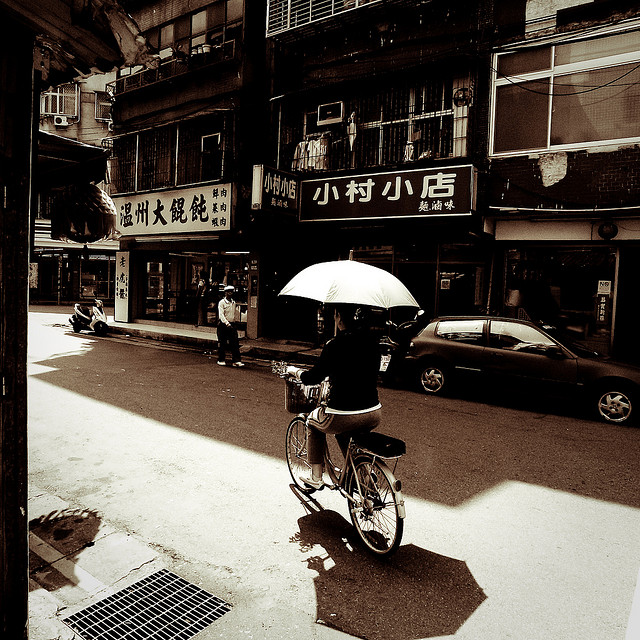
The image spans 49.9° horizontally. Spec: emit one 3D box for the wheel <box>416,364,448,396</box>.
[{"bbox_3d":[1.836,0.935,11.080,0.354,0.475,0.141,6,3,41],"label":"wheel"}]

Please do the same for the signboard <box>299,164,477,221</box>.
[{"bbox_3d":[1.287,-2.558,13.861,4.023,1.142,0.246,9,11,38],"label":"signboard"}]

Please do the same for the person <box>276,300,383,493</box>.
[{"bbox_3d":[0.131,0.683,5.880,0.785,1.780,0.537,4,8,23],"label":"person"}]

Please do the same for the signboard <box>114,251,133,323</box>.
[{"bbox_3d":[-6.251,-1.130,21.884,0.806,2.251,0.316,8,10,44],"label":"signboard"}]

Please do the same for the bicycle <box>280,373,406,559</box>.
[{"bbox_3d":[0.373,1.125,5.671,0.481,1.349,1.501,0,4,-22],"label":"bicycle"}]

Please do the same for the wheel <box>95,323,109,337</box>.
[{"bbox_3d":[-5.972,0.212,18.764,0.316,0.387,0.396,-2,9,-21],"label":"wheel"}]

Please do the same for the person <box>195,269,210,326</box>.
[{"bbox_3d":[-3.507,-0.698,20.706,0.370,1.483,1.251,0,8,-10],"label":"person"}]

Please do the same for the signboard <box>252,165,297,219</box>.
[{"bbox_3d":[-0.974,-2.808,14.878,0.294,1.088,1.381,5,9,32],"label":"signboard"}]

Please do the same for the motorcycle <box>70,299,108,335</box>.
[{"bbox_3d":[-6.289,-0.109,18.912,1.188,0.909,0.635,8,10,36],"label":"motorcycle"}]

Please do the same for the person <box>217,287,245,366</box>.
[{"bbox_3d":[-1.794,0.086,13.946,0.520,1.688,1.227,0,8,-8],"label":"person"}]
